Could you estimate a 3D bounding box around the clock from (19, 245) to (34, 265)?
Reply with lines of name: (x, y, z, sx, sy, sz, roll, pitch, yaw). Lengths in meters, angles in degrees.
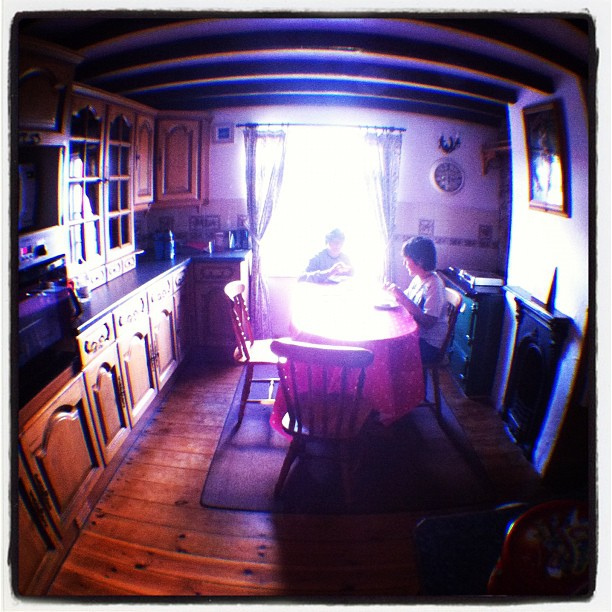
clock: (-0.911, -0.167, 1.552, 0.019, 0.060, 0.063, 2, 6, 2)

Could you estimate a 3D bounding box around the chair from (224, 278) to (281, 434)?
chair: (-0.241, 0.237, 2.208, 0.315, 0.751, 0.386, 0, 24, 2)

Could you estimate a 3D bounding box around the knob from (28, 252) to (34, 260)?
knob: (-0.910, -0.167, 1.583, 0.010, 0.018, 0.015, 2, 1, 32)

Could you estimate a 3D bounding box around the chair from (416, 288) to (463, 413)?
chair: (0.502, 0.216, 2.041, 0.291, 0.537, 0.294, 1, -1, 8)

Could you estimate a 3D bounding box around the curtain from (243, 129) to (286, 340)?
curtain: (-0.183, -0.248, 2.048, 0.160, 0.922, 0.500, 1, 12, -4)

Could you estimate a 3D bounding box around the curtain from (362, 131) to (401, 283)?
curtain: (0.277, -0.396, 1.826, 0.142, 0.486, 0.117, 4, 11, 10)

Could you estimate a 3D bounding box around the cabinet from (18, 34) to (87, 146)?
cabinet: (-0.927, -0.721, 1.607, 0.185, 0.308, 0.280, 26, 22, 34)

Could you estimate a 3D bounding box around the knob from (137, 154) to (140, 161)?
knob: (-0.844, -0.747, 2.402, 0.010, 0.040, 0.027, 2, -26, -9)

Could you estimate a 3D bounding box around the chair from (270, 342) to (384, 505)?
chair: (0.079, 0.366, 1.704, 0.406, 0.610, 0.483, 4, 12, 7)
